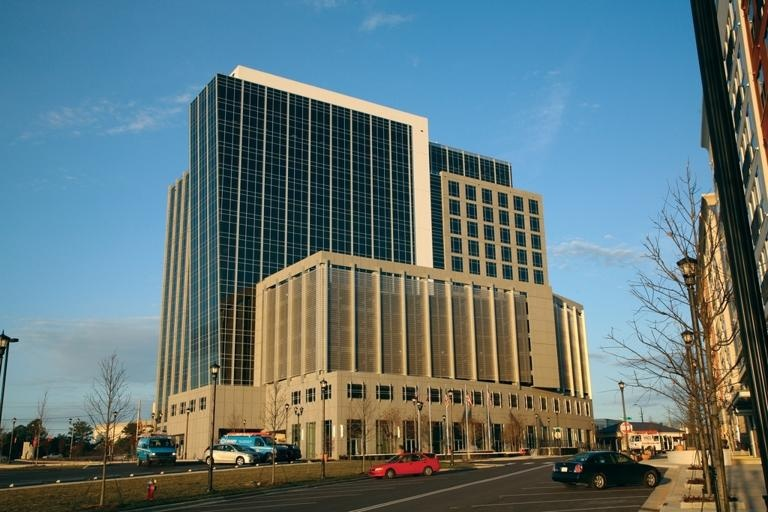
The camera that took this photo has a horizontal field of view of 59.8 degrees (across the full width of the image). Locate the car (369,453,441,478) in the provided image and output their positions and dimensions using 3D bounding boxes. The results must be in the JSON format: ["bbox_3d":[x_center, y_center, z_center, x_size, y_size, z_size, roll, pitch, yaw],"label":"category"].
[{"bbox_3d":[1.754,17.206,55.003,5.629,1.544,2.196,11,-25,-26],"label":"car"}]

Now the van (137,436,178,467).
[{"bbox_3d":[-24.884,21.092,73.308,2.591,3.336,4.658,12,-26,-36],"label":"van"}]
